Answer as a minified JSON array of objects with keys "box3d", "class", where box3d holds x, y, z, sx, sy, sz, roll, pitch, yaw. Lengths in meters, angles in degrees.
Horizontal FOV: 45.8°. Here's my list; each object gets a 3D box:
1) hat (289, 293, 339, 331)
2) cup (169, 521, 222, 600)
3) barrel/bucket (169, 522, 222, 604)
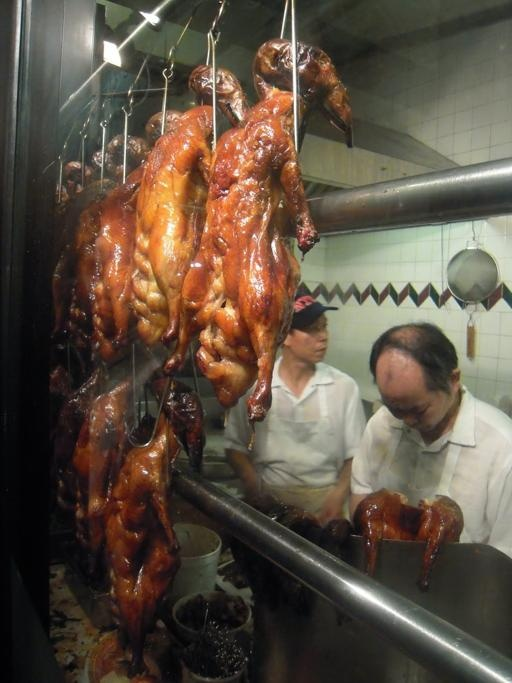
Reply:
[{"box3d":[0.084,-0.044,0.947,0.034,0.064,0.118,-1,9,-15],"class":"hat"},{"box3d":[-0.114,0.408,1.156,0.124,0.141,0.138,2,-11,-16],"class":"cup"},{"box3d":[-0.114,0.416,1.152,0.130,0.145,0.140,0,-14,0],"class":"barrel/bucket"}]
